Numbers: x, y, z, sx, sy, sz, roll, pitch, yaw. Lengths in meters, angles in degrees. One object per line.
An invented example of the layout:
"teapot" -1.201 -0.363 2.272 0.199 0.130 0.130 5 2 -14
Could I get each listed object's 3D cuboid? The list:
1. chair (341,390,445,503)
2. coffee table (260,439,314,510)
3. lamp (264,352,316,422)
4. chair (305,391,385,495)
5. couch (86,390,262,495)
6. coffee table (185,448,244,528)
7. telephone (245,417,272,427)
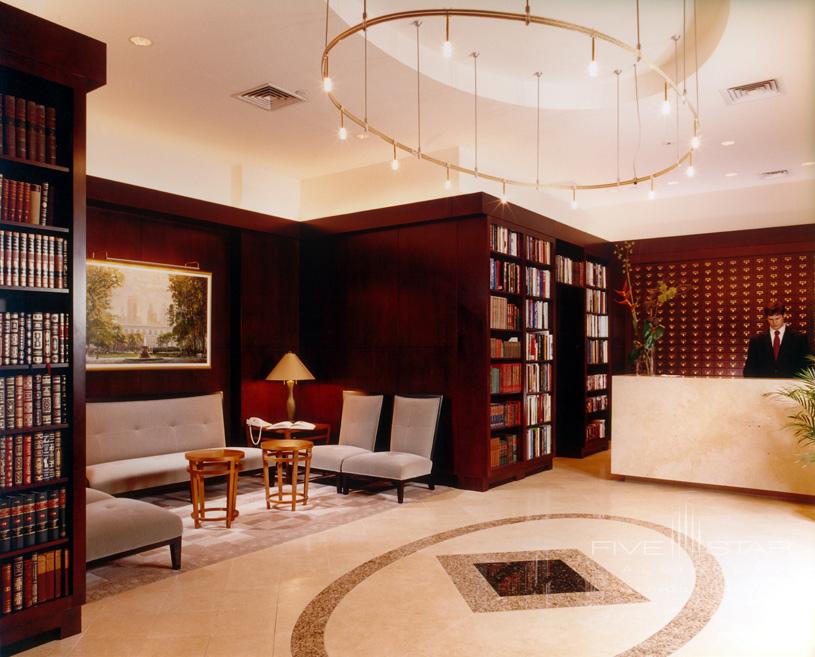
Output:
"chair" -0.170 1.241 6.593 0.876 0.993 0.887 1 1 29
"coffee table" -1.214 1.465 6.094 0.483 0.632 0.523 -3 -7 24
"lamp" -1.462 0.704 7.625 0.604 0.823 0.631 0 1 -11
"chair" -0.725 1.261 6.866 0.801 1.046 0.768 5 -4 -38
"couch" -2.456 1.199 6.236 0.794 0.933 1.795 0 -2 38
"coffee table" -1.749 1.450 5.522 0.483 0.632 0.498 1 -5 -12
"telephone" -1.790 1.097 7.246 0.318 0.144 0.114 1 4 24
